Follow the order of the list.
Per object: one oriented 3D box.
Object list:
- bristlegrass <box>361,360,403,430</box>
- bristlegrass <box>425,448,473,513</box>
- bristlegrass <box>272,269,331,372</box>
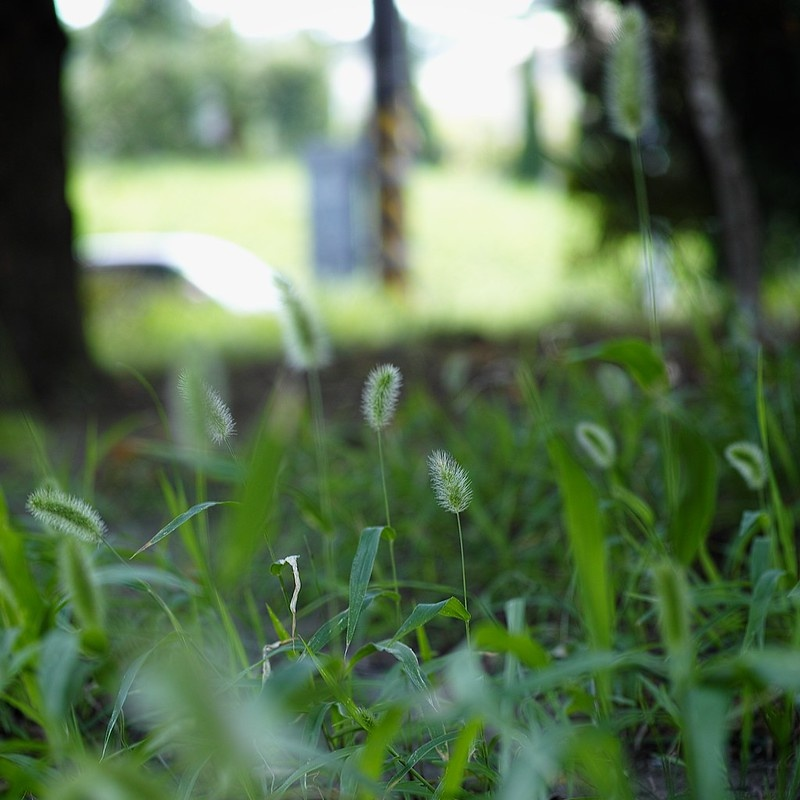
[{"bbox_3d":[-0.017,-0.005,0.832,0.024,0.066,0.025,8,4,35],"label":"bristlegrass"},{"bbox_3d":[0.037,0.066,0.783,0.027,0.057,0.021,-21,-16,-5],"label":"bristlegrass"},{"bbox_3d":[-0.091,-0.063,0.912,0.028,0.112,0.034,-18,-14,2],"label":"bristlegrass"}]
